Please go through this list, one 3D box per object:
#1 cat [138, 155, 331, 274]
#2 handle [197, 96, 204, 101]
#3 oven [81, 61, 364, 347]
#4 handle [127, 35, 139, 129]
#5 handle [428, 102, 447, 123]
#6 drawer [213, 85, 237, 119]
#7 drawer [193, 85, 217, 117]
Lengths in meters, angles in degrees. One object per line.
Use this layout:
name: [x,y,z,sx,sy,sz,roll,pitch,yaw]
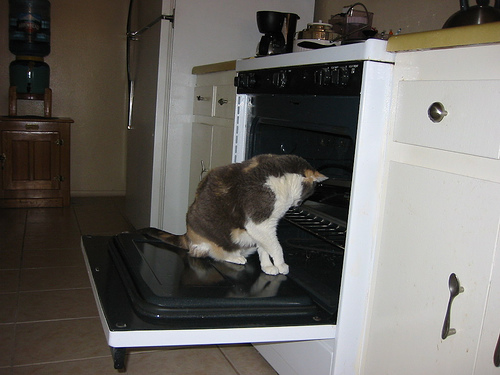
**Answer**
cat: [-0.092,0.088,1.503,0.711,0.421,0.251,-1,17,-2]
handle: [-0.305,-0.558,2.532,0.015,0.030,0.043,3,8,-19]
oven: [-0.034,0.140,1.489,0.773,1.101,0.949,-6,17,-27]
handle: [-0.907,-0.805,3.125,0.083,0.722,0.139,1,1,24]
handle: [0.475,-0.193,1.037,0.016,0.035,0.047,-1,19,-30]
drawer: [-0.132,-0.459,2.180,0.146,0.185,0.256,1,10,-12]
drawer: [-0.325,-0.537,2.537,0.145,0.167,0.241,14,18,38]
